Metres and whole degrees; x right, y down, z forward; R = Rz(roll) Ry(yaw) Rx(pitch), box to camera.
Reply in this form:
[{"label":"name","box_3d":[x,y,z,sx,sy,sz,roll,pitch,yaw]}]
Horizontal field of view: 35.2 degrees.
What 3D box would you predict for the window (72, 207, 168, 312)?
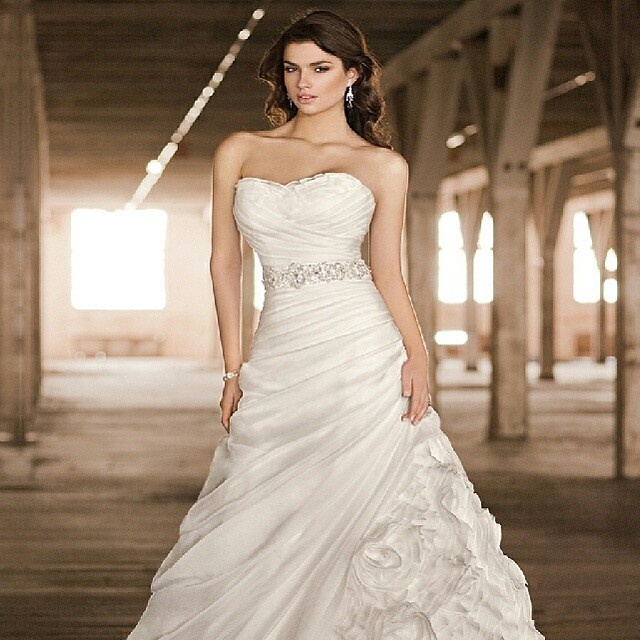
[{"label":"window","box_3d":[-1.372,-0.407,6.776,0.910,0.747,0.042,1,-9,-27]}]
